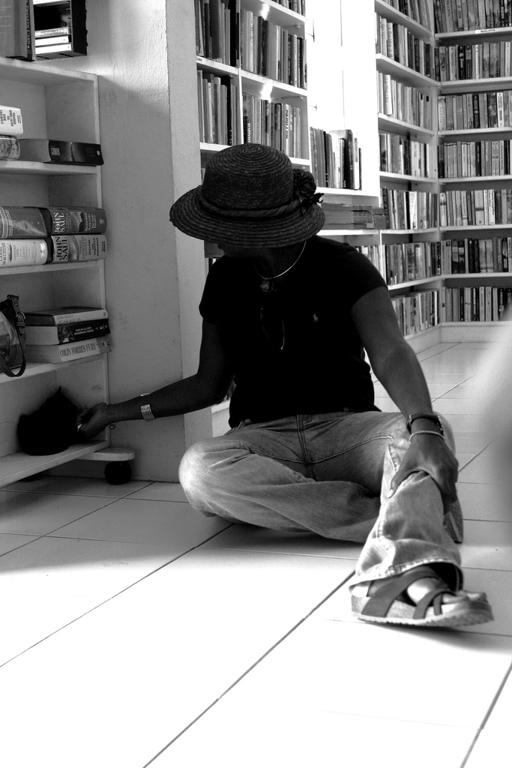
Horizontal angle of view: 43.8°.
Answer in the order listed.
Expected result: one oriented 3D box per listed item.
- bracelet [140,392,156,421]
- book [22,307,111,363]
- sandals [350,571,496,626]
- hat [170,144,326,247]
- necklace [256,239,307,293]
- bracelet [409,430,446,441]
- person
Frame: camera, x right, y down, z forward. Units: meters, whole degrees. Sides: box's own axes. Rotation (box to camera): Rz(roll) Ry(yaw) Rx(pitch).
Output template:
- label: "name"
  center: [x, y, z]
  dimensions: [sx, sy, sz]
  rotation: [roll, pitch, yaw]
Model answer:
- label: "bracelet"
  center: [-0.313, 0.062, 1.853]
  dimensions: [0.044, 0.069, 0.070]
  rotation: [-5, -6, 4]
- label: "book"
  center: [-0.564, -0.155, 1.937]
  dimensions: [0.169, 0.110, 0.235]
  rotation: [3, 7, 28]
- label: "sandals"
  center: [0.233, 0.306, 0.964]
  dimensions: [0.237, 0.092, 0.085]
  rotation: [-10, -14, 34]
- label: "hat"
  center: [-0.015, -0.395, 1.446]
  dimensions: [0.286, 0.138, 0.282]
  rotation: [-11, 36, -14]
- label: "necklace"
  center: [0.050, -0.282, 1.530]
  dimensions: [0.119, 0.119, 0.032]
  rotation: [7, 9, 33]
- label: "bracelet"
  center: [0.314, 0.094, 1.177]
  dimensions: [0.059, 0.017, 0.032]
  rotation: [-2, 0, 10]
- label: "person"
  center: [0.085, -0.052, 1.370]
  dimensions: [0.735, 0.767, 0.944]
  rotation: [-12, 10, 5]
